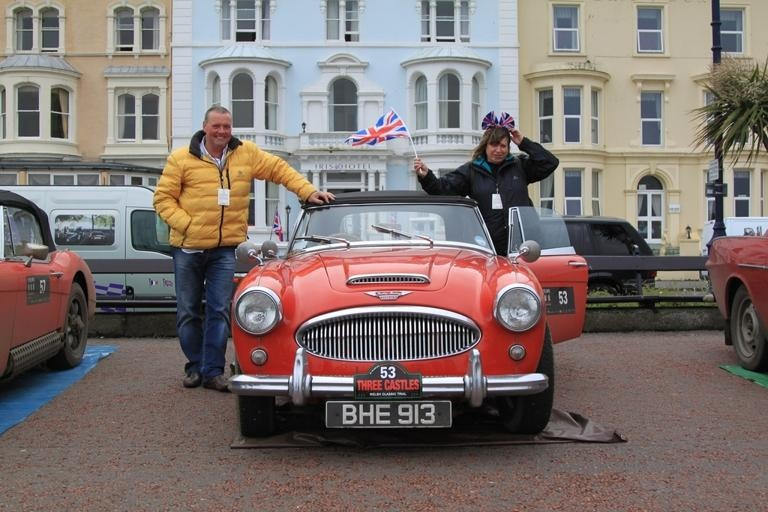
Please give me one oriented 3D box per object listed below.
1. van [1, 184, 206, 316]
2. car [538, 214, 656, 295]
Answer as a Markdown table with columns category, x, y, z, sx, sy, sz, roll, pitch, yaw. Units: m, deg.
| category | x | y | z | sx | sy | sz | roll | pitch | yaw |
| --- | --- | --- | --- | --- | --- | --- | --- | --- | --- |
| van | -4.808 | -0.247 | 22.971 | 5.779 | 3.305 | 2.265 | -1 | 2 | -9 |
| car | 5.456 | -0.033 | 25.981 | 2.860 | 1.662 | 1.685 | 0 | 0 | -2 |
